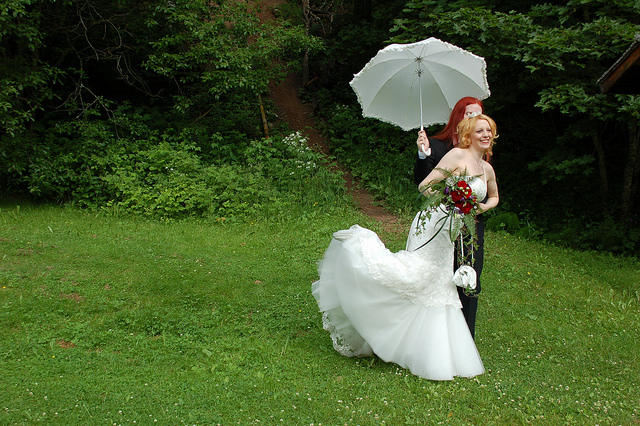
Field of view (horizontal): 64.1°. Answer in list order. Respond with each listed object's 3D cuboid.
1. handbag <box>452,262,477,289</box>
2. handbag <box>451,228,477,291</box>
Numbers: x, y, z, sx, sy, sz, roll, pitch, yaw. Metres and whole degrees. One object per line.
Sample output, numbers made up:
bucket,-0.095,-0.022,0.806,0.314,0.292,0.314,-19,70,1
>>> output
handbag,2.251,0.940,7.813,0.422,0.361,0.257,2,13,-6
handbag,2.139,0.689,7.583,0.454,1.187,0.198,5,44,31
